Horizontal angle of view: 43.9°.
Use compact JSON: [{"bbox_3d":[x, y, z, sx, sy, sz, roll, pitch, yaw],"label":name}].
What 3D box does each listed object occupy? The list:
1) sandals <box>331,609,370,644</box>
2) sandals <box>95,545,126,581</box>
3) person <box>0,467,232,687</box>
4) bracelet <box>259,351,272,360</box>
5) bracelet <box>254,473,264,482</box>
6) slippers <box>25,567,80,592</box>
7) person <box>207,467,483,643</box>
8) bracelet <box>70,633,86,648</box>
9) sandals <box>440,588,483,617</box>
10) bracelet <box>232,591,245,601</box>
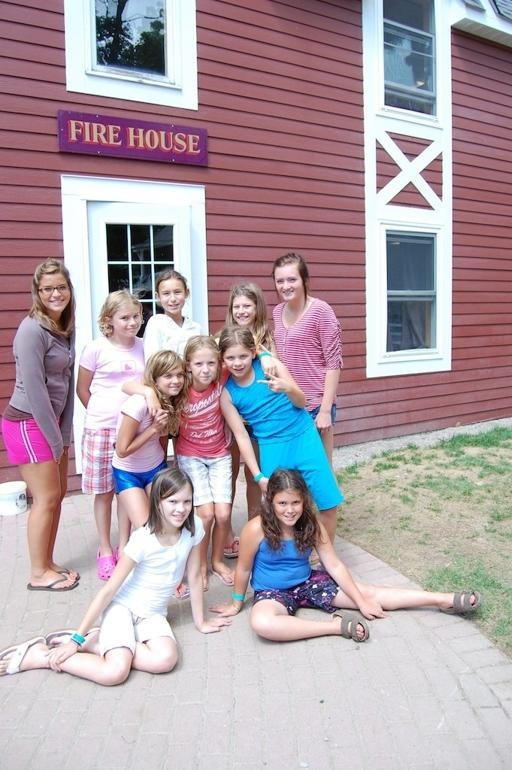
[{"bbox_3d":[0.406,1.026,2.705,0.048,0.083,0.146,-6,4,-43],"label":"sandals"},{"bbox_3d":[-0.817,0.974,3.500,0.130,0.116,0.329,0,7,-11],"label":"sandals"},{"bbox_3d":[-0.528,0.750,2.561,0.936,0.765,0.396,-4,8,-26],"label":"person"},{"bbox_3d":[0.041,-0.140,3.038,0.042,0.032,0.042,-3,13,-18],"label":"bracelet"},{"bbox_3d":[0.011,0.447,3.050,0.046,0.028,0.048,-28,-24,39],"label":"bracelet"},{"bbox_3d":[-1.061,1.019,3.319,0.173,0.039,0.126,-2,8,-3],"label":"slippers"},{"bbox_3d":[0.307,0.641,2.798,0.908,0.541,0.841,-12,17,-41],"label":"person"},{"bbox_3d":[-0.693,0.988,2.467,0.044,0.057,0.057,-14,9,-19],"label":"bracelet"},{"bbox_3d":[0.936,0.992,2.887,0.180,0.098,0.066,-10,-14,33],"label":"sandals"},{"bbox_3d":[-0.078,0.992,2.992,0.063,0.029,0.054,8,-3,-38],"label":"bracelet"}]
